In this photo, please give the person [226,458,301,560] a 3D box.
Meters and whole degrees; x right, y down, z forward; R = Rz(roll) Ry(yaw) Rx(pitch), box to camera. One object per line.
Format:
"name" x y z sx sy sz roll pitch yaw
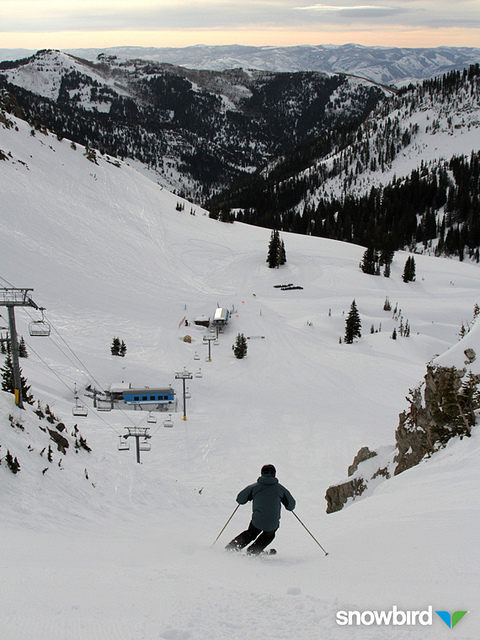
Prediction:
"person" 0.547 4.367 17.834 1.293 2.851 0.834 17 31 9
